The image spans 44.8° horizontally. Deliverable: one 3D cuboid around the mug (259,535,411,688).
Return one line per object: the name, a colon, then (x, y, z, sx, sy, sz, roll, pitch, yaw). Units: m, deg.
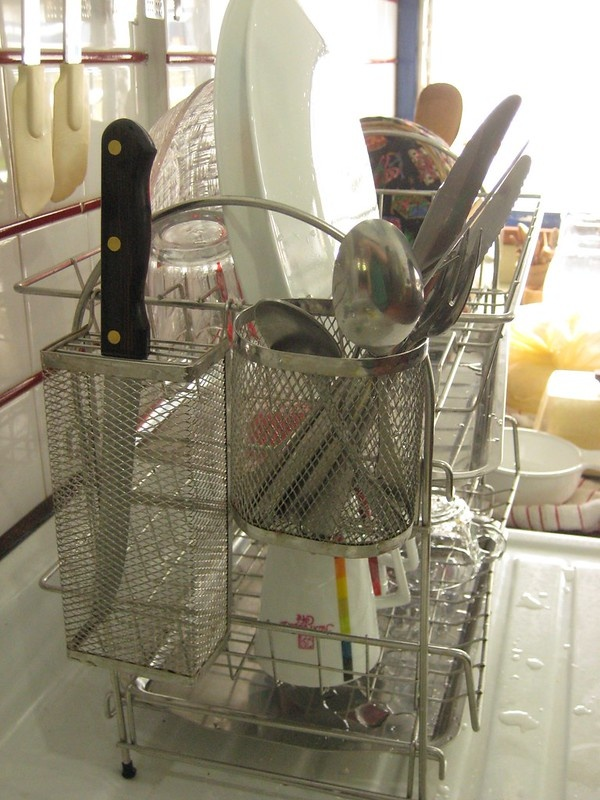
mug: (0.024, 0.111, 0.417, 0.089, 0.077, 0.055, -2, 11, -10)

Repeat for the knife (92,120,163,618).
knife: (-0.071, -0.031, 0.304, 0.028, 0.202, 0.011, 2, 20, -1)
